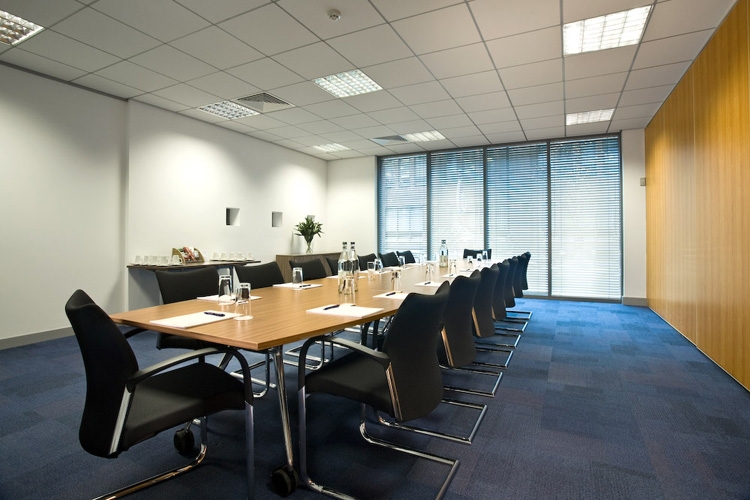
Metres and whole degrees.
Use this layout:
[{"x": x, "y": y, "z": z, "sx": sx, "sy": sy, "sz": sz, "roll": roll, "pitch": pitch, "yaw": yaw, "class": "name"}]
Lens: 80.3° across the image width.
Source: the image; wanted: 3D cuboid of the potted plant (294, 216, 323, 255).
[{"x": -1.346, "y": -0.333, "z": 9.317, "sx": 0.534, "sy": 0.753, "sz": 0.544, "roll": 3, "pitch": 11, "yaw": -11, "class": "potted plant"}]
